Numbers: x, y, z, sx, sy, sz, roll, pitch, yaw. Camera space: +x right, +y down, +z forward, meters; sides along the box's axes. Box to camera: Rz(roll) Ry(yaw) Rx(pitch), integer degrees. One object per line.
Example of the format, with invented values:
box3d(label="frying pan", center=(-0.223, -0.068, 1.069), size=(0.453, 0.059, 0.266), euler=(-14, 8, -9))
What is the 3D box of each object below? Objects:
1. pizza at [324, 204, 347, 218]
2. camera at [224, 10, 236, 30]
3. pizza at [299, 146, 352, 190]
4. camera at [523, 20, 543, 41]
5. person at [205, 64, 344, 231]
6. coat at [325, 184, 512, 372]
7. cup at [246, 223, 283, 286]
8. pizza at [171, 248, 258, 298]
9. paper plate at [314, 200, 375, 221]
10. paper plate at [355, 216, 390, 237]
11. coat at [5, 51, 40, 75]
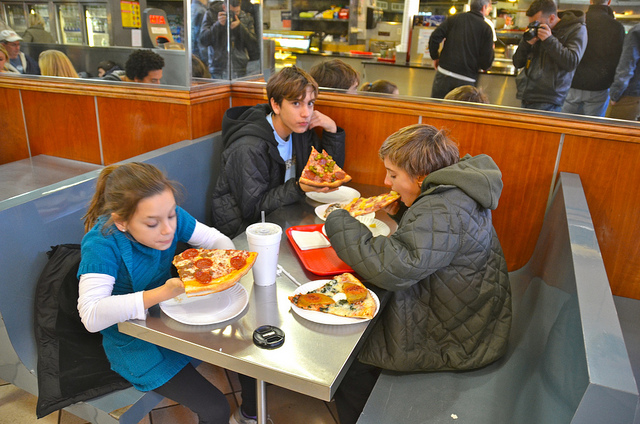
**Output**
box3d(label="pizza", center=(0.088, -0.013, 2.509), size=(0.081, 0.024, 0.064), euler=(-26, 17, -26))
box3d(label="camera", center=(-0.662, -1.418, 3.250), size=(0.035, 0.115, 0.079), euler=(10, 14, 15))
box3d(label="pizza", center=(0.021, -0.271, 2.769), size=(0.311, 0.081, 0.383), euler=(-5, 40, -9))
box3d(label="camera", center=(1.316, -1.138, 2.756), size=(0.064, 0.104, 0.096), euler=(17, 4, -6))
box3d(label="person", center=(-0.278, -0.147, 3.198), size=(0.971, 1.653, 0.848), euler=(0, 24, -4))
box3d(label="coat", center=(0.508, 0.277, 2.205), size=(0.767, 0.840, 0.974), euler=(-6, 34, -16))
box3d(label="cup", center=(-0.258, 0.188, 1.969), size=(0.138, 0.257, 0.158), euler=(2, 22, -10))
box3d(label="pizza", center=(-0.435, 0.227, 1.878), size=(0.335, 0.117, 0.249), euler=(-8, 25, -25))
box3d(label="paper plate", center=(0.074, -0.013, 2.575), size=(0.179, 0.027, 0.182), euler=(0, 29, -3))
box3d(label="paper plate", center=(0.299, 0.073, 2.393), size=(0.126, 0.018, 0.126), euler=(23, 34, 29))
box3d(label="coat", center=(-2.235, -1.124, 3.318), size=(0.319, 0.156, 0.036), euler=(11, 24, 19))
